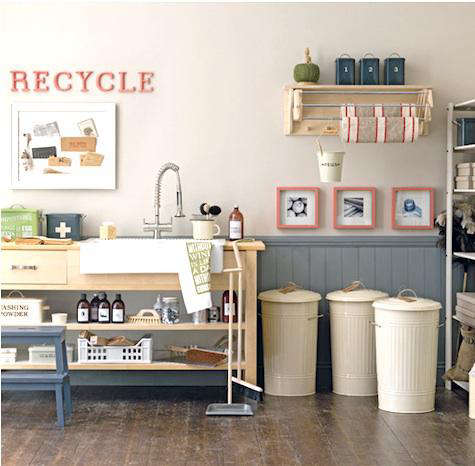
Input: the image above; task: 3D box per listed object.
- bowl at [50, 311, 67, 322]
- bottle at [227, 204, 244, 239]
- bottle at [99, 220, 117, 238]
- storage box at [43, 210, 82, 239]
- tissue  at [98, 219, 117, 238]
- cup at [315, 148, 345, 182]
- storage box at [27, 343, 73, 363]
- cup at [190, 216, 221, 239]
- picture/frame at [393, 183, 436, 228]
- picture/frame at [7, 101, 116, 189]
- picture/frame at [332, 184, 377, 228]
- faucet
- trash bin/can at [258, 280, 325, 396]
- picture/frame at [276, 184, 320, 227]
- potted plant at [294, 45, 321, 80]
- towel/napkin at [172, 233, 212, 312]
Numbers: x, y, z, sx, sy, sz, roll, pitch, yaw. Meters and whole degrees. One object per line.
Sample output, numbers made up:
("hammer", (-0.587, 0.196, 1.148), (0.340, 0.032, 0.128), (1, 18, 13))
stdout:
("bowl", (-1.053, 0.500, 3.608), (0.068, 0.039, 0.075), (-4, -12, 28))
("bottle", (-0.007, -0.075, 3.769), (0.086, 0.210, 0.123), (0, 5, -5))
("bottle", (-0.794, -0.020, 3.712), (0.105, 0.146, 0.105), (0, -2, 0))
("storage box", (-1.070, -0.053, 3.745), (0.280, 0.180, 0.152), (1, 3, -3))
("tissue ", (-0.793, -0.026, 3.785), (0.106, 0.146, 0.106), (1, -2, 0))
("cup", (0.548, -0.392, 3.562), (0.183, 0.171, 0.169), (0, -2, 0))
("storage box", (-1.058, 0.687, 3.457), (0.187, 0.066, 0.175), (1, 0, -10))
("cup", (-0.197, -0.032, 3.715), (0.165, 0.114, 0.125), (1, 1, 3))
("picture/frame", (1.137, -0.175, 3.942), (0.300, 0.288, 0.020), (0, -1, -2))
("picture/frame", (-1.130, -0.587, 3.877), (0.571, 0.468, 0.053), (0, 0, -1))
("picture/frame", (0.758, -0.182, 3.935), (0.289, 0.270, 0.021), (0, -1, -1))
("faucet", (-0.462, -0.220, 3.834), (0.279, 0.482, 0.201), (-1, 5, -9))
("trash bin/can", (0.321, 0.671, 3.813), (0.590, 0.820, 0.556), (0, -2, 1))
("picture/frame", (0.380, -0.181, 3.924), (0.288, 0.269, 0.019), (1, -2, -3))
("potted plant", (0.443, -1.076, 3.842), (0.175, 0.229, 0.141), (0, 5, 0))
("towel/napkin", (-0.248, 0.235, 3.384), (0.209, 0.387, 0.133), (0, 5, -5))
